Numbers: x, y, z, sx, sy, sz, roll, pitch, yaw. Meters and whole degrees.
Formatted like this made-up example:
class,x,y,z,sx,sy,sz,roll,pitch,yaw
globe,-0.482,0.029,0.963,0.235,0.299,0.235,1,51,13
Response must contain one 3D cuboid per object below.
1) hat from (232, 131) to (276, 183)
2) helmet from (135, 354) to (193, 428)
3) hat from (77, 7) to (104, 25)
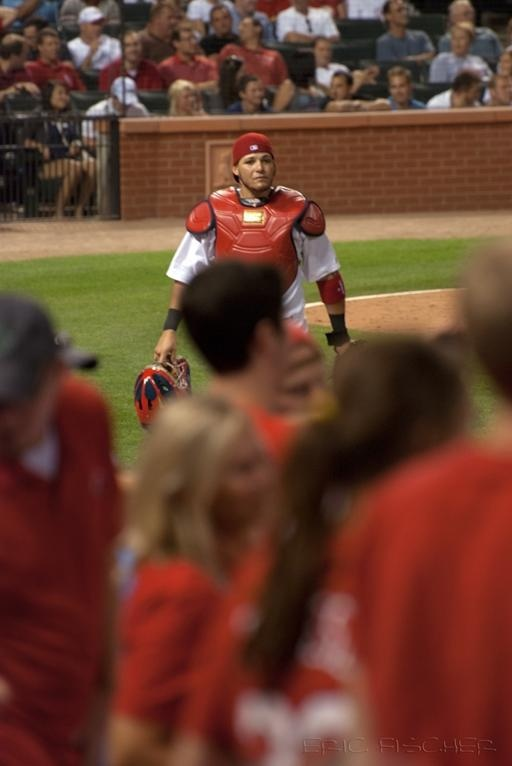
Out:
class,x,y,z,sx,sy,sz,roll,pitch,yaw
hat,-0.031,-1.283,4.665,0.226,0.216,0.246,-6,-11,-9
helmet,-0.468,0.012,4.230,0.182,0.196,0.473,1,17,16
hat,-3.426,-7.546,17.610,0.351,0.235,0.457,-25,35,-28
